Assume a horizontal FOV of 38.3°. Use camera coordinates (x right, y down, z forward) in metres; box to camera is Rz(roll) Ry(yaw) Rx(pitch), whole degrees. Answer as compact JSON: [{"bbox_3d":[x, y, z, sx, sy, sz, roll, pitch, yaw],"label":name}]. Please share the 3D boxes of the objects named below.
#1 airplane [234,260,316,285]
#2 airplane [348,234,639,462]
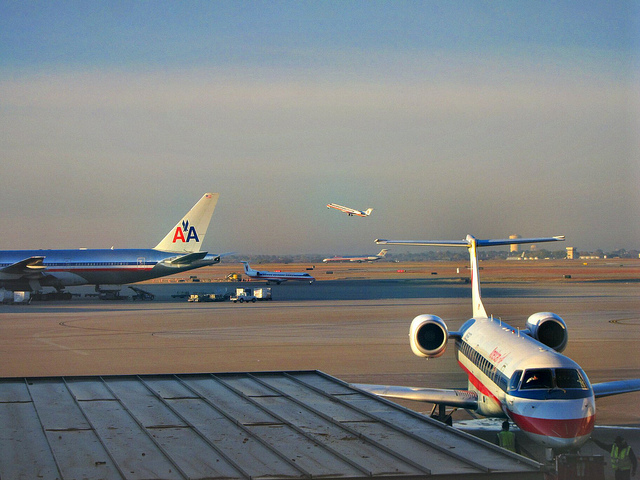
[{"bbox_3d":[-5.045,3.671,102.596,6.310,2.482,13.368,0,0,-11],"label":"airplane"},{"bbox_3d":[5.690,3.933,28.426,8.108,2.927,8.098,-1,0,-6],"label":"airplane"}]
